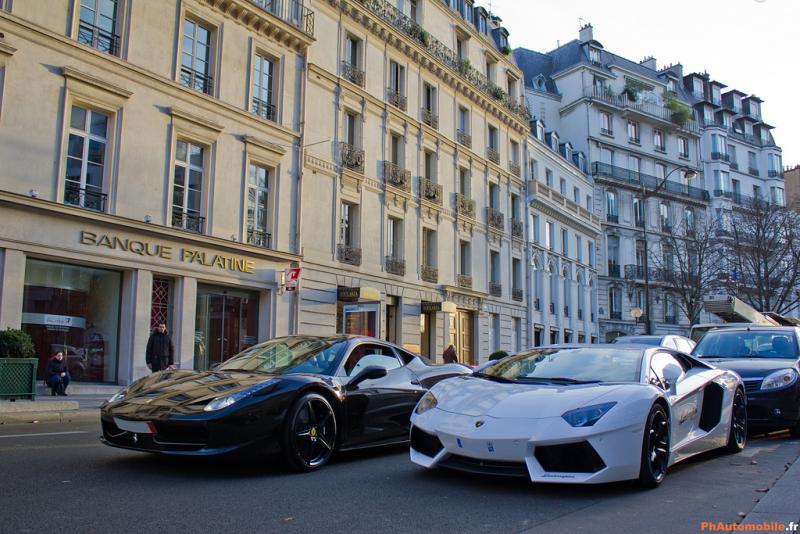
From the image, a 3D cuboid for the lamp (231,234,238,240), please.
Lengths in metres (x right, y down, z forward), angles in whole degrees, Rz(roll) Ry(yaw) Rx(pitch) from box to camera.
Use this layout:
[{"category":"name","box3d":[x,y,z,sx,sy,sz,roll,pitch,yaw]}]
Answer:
[{"category":"lamp","box3d":[-5.417,-0.987,23.869,0.186,0.140,0.199,-3,-7,-43]}]

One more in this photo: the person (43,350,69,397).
[{"category":"person","box3d":[-8.847,2.849,18.817,0.516,1.147,0.630,-4,9,-27]}]

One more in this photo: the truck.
[{"category":"truck","box3d":[13.146,1.834,28.018,3.407,0.469,3.468,-3,-14,30]}]

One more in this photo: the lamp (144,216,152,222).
[{"category":"lamp","box3d":[-7.483,-1.431,21.623,0.100,0.179,0.185,-6,-8,23]}]

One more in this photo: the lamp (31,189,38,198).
[{"category":"lamp","box3d":[-9.718,-1.971,19.373,0.153,0.274,0.159,-25,-23,37]}]
